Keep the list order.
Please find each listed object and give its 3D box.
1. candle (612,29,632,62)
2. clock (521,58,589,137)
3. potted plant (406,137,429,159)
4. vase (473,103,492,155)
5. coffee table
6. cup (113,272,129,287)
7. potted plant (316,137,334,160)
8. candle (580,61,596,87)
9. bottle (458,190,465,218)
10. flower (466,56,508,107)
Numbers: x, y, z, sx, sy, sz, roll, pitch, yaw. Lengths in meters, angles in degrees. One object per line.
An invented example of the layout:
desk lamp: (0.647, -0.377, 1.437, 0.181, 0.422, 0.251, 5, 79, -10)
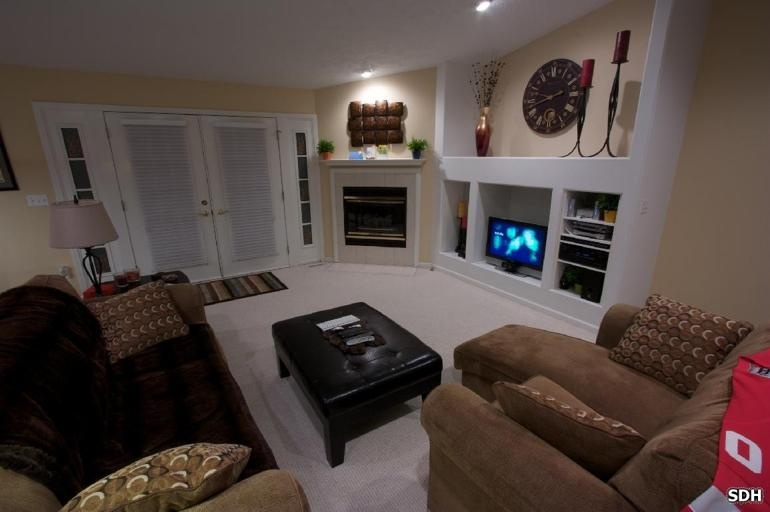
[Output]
candle: (2.211, -1.942, 4.445, 0.107, 0.280, 0.205, 7, 17, 33)
clock: (1.826, -1.731, 5.241, 0.099, 0.804, 0.711, -12, 16, -33)
potted plant: (0.426, -1.386, 6.127, 0.255, 0.285, 0.262, 0, 14, 10)
vase: (1.206, -1.520, 5.805, 0.171, 0.599, 0.414, 1, 14, 14)
coffee table: (-0.187, 1.247, 3.969, 1.013, 0.649, 1.413, -11, 24, -27)
cup: (-2.465, 0.223, 4.431, 0.121, 0.116, 0.114, 1, 6, 0)
potted plant: (-0.805, -1.427, 6.363, 0.247, 0.268, 0.265, 15, 19, 35)
candle: (2.034, -1.830, 4.780, 0.127, 0.268, 0.271, 3, 15, 22)
bottle: (1.008, -0.685, 6.250, 0.095, 0.328, 0.175, -1, 14, 7)
flower: (1.216, -2.224, 6.033, 0.508, 0.799, 0.470, 11, 31, 20)
